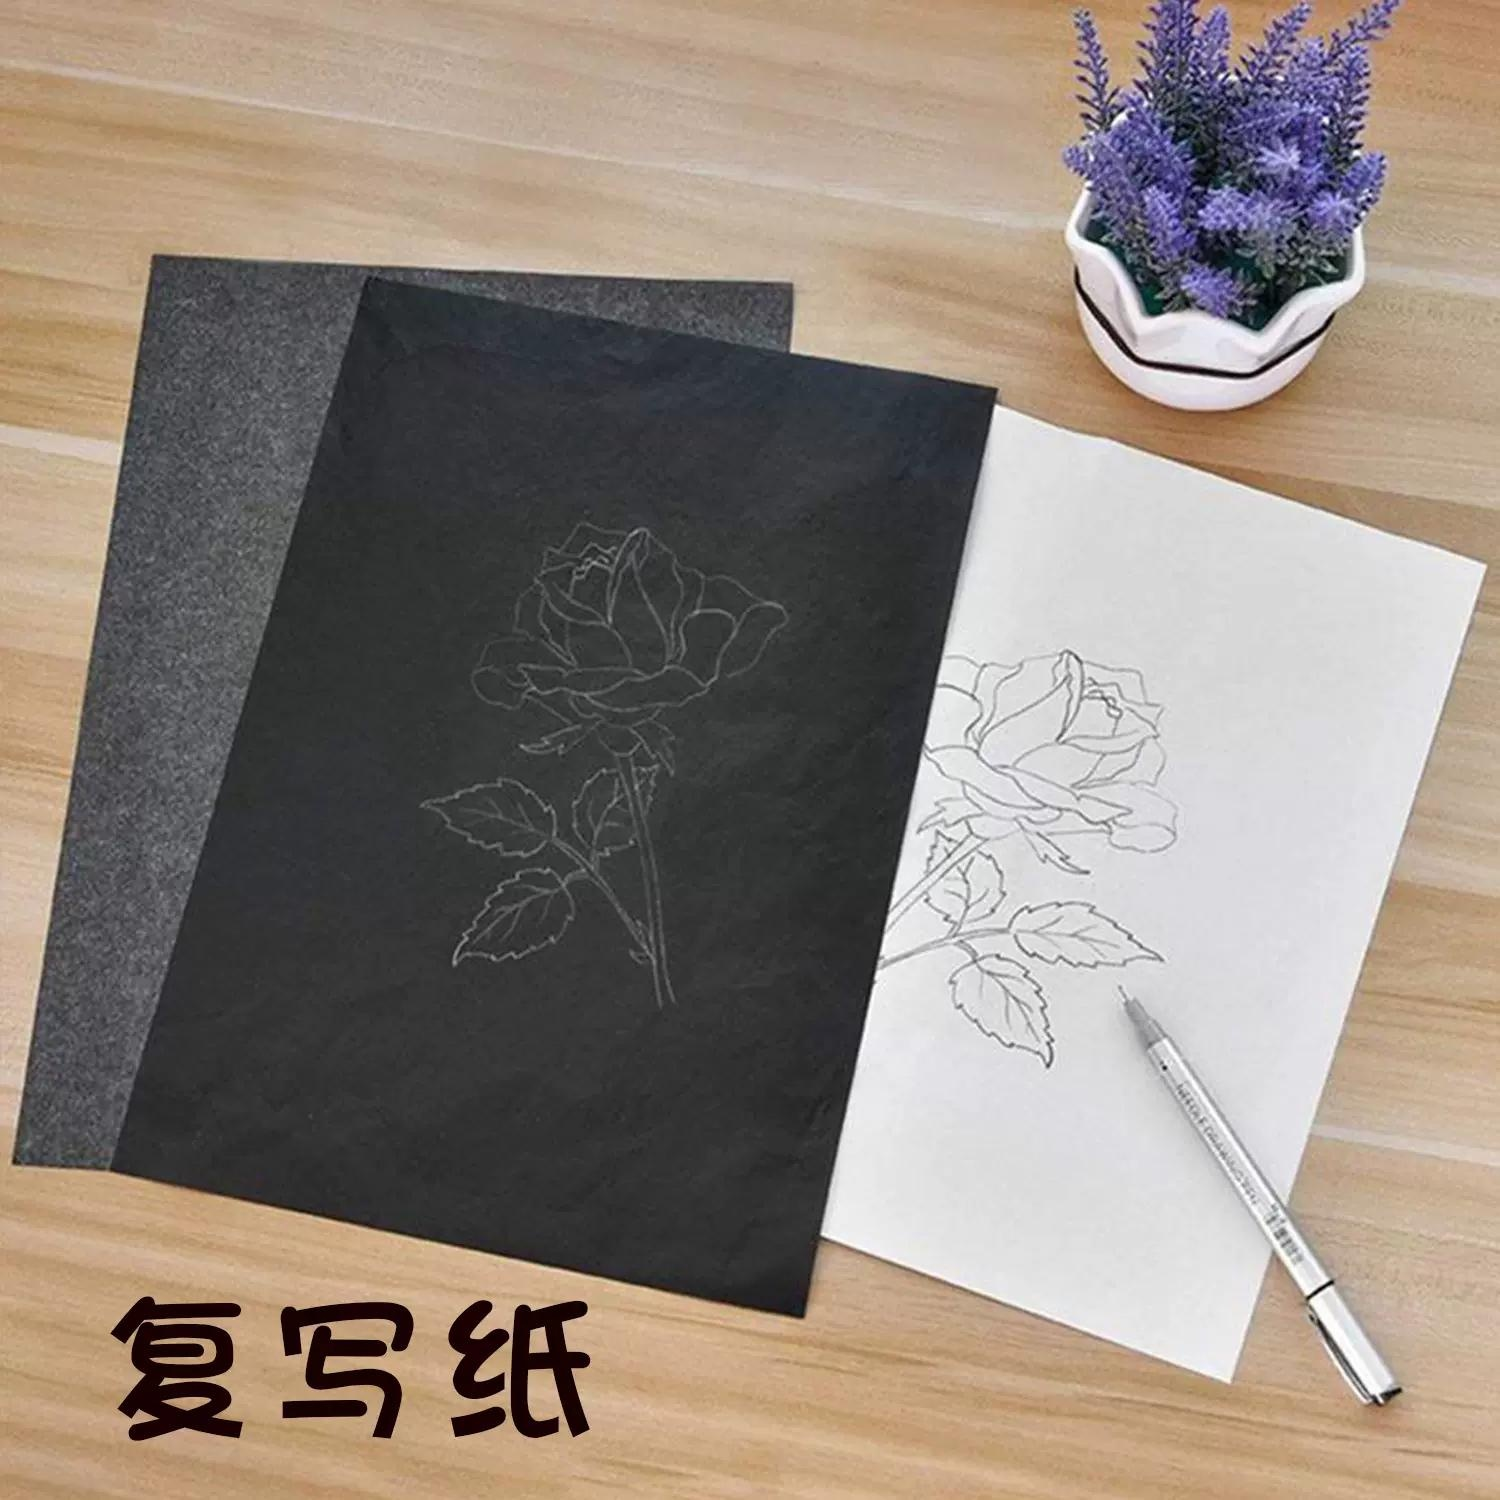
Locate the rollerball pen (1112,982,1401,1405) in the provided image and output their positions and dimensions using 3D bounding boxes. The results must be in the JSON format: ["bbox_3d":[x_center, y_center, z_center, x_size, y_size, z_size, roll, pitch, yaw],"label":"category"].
[{"bbox_3d":[0.180,0.161,0.583,0.020,0.015,0.178,-35,93,-32],"label":"rollerball pen"}]
